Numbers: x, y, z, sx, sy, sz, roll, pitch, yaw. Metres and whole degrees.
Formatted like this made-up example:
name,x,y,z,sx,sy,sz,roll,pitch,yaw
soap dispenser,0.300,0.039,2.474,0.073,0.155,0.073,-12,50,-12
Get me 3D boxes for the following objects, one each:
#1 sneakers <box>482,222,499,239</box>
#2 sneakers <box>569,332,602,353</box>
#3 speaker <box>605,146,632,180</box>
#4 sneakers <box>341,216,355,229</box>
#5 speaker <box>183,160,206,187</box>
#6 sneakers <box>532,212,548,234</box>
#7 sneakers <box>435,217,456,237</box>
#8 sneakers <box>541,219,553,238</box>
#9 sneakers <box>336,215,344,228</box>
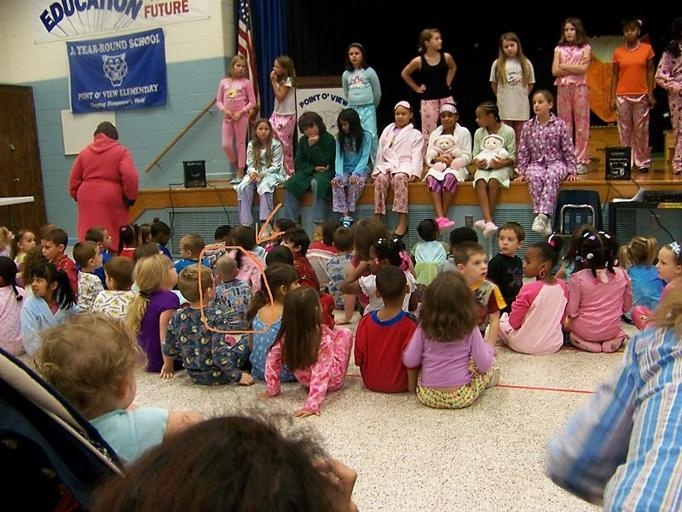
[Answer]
name,x,y,z,sx,sy,sz,roll,pitch,yaw
sneakers,1.349,-0.237,5.627,0.088,0.155,0.154,-4,-26,-21
sneakers,1.506,0.524,3.837,0.160,0.072,0.093,7,27,40
speaker,2.447,-0.821,5.471,0.241,0.278,0.163,1,12,7
sneakers,0.049,-0.328,5.956,0.071,0.101,0.223,1,0,9
speaker,-1.655,-0.912,6.907,0.235,0.285,0.250,-5,13,-17
sneakers,1.734,-0.281,5.389,0.103,0.168,0.153,7,14,31
sneakers,0.950,-0.283,5.649,0.143,0.111,0.253,-17,4,13
sneakers,1.797,-0.234,5.398,0.106,0.201,0.126,0,6,-1
sneakers,-0.010,-0.311,5.480,0.067,0.101,0.224,-1,0,1
